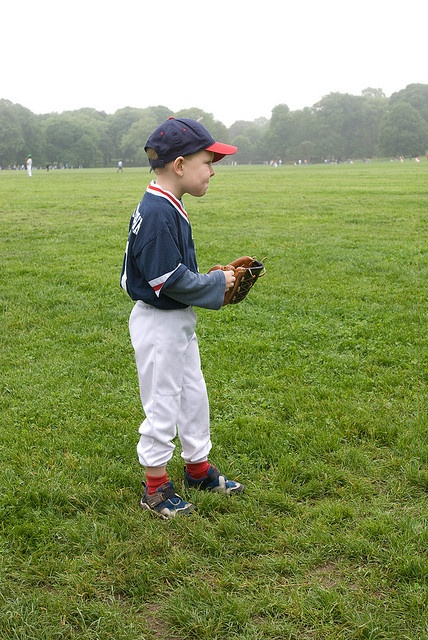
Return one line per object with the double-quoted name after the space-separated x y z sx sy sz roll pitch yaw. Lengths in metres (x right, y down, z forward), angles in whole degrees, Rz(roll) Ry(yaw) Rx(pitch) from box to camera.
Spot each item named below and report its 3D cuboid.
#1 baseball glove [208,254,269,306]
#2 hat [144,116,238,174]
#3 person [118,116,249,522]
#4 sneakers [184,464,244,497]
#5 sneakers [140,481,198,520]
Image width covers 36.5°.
0.071 -0.188 3.318 0.289 0.156 0.380 -19 -16 -21 "baseball glove"
-0.118 -0.872 3.137 0.438 0.211 0.261 -10 10 -10 "hat"
-0.151 -0.013 3.179 0.566 1.928 0.454 -1 9 -21 "person"
0.006 0.867 3.496 0.371 0.147 0.118 4 -4 -3 "sneakers"
-0.231 0.885 3.232 0.244 0.111 0.138 5 6 24 "sneakers"
